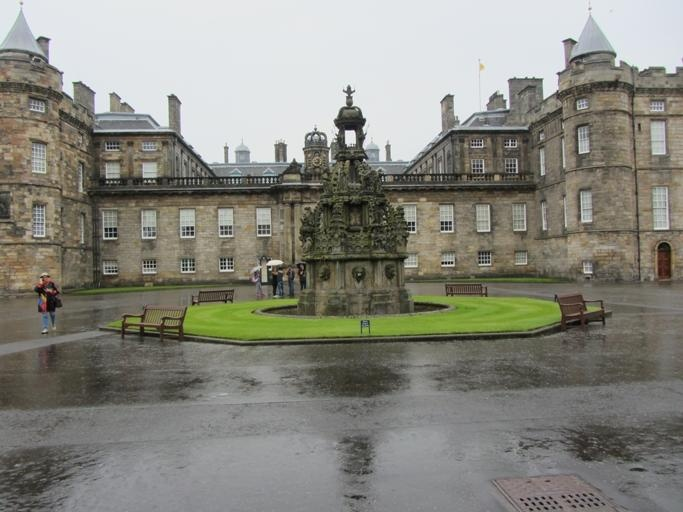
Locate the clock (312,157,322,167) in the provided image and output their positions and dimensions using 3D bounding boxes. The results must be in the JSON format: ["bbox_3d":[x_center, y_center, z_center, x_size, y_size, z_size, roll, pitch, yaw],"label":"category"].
[{"bbox_3d":[-2.370,-9.071,66.752,1.033,1.045,0.245,-1,-8,26],"label":"clock"}]
